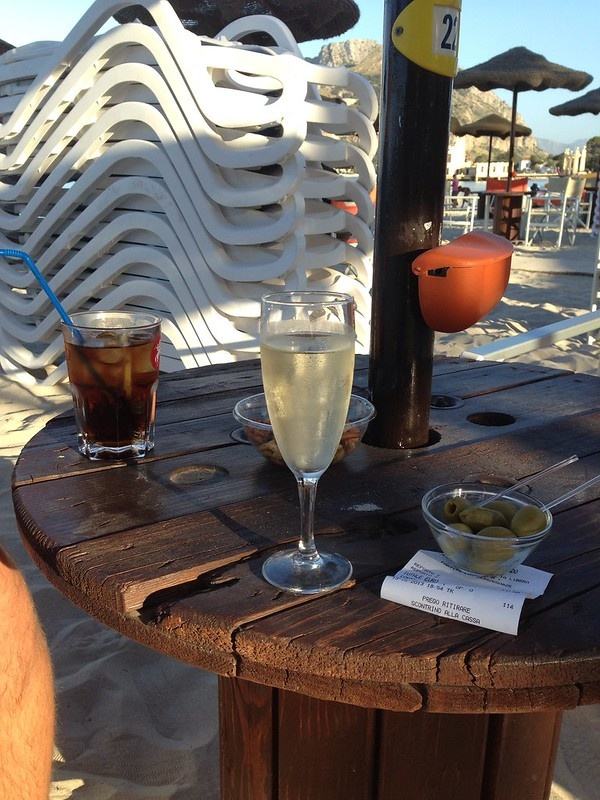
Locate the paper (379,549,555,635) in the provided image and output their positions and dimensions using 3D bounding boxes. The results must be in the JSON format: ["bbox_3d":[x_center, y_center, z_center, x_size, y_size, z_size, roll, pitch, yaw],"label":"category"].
[{"bbox_3d":[0.153,0.166,0.640,0.122,0.021,0.116,9,16,30],"label":"paper"}]

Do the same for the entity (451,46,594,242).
[{"bbox_3d":[3.981,-4.927,13.538,2.119,3.601,2.865,10,17,27],"label":"entity"}]

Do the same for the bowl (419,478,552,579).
[{"bbox_3d":[0.168,0.109,0.677,0.100,0.041,0.092,0,16,0],"label":"bowl"}]

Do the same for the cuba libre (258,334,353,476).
[{"bbox_3d":[0.008,0.005,0.673,0.096,0.135,0.094,-4,4,-38],"label":"cuba libre"}]

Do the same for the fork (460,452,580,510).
[{"bbox_3d":[0.269,0.100,0.857,0.178,0.012,0.017,-20,12,-39],"label":"fork"}]
